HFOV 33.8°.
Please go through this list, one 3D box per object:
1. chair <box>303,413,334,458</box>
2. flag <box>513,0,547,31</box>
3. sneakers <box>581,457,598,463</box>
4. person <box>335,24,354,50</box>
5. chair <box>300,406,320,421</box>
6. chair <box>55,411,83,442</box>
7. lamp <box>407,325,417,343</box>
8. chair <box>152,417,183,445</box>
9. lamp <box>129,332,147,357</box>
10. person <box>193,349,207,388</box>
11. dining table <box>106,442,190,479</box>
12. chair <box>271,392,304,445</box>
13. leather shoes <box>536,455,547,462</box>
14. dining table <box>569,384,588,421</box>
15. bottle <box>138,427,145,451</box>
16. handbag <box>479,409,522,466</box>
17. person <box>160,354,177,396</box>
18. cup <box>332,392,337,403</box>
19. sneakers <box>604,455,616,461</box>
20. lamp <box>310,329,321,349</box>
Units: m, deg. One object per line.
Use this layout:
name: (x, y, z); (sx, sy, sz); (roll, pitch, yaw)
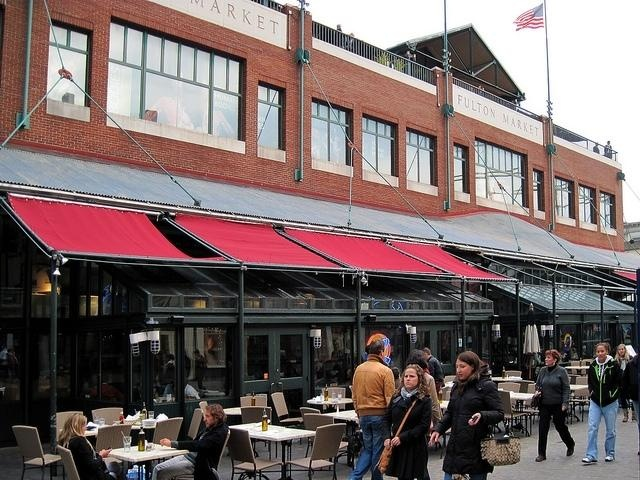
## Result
chair: (-0.092, 4.325, 24.509); (0.471, 0.834, 0.506); (-1, -5, 40)
flag: (8.940, -9.538, 44.630); (1.191, 1.745, 1.857); (-5, -12, 14)
sneakers: (6.267, 5.104, 24.336); (0.376, 0.168, 0.127); (13, -15, -29)
person: (0.989, -7.253, 37.855); (0.189, 0.658, 0.936); (-9, -14, 35)
chair: (-0.229, 4.079, 25.120); (0.435, 0.507, 0.403); (0, -2, -12)
chair: (-5.223, 4.024, 22.104); (0.527, 0.761, 0.559); (15, -26, -23)
lamp: (2.786, 2.808, 31.532); (0.213, 0.552, 0.477); (-10, -14, 37)
chair: (-3.536, 4.424, 24.411); (0.548, 0.983, 0.531); (4, -3, 43)
lamp: (-4.585, 2.596, 26.189); (0.504, 0.773, 0.608); (0, -1, -7)
person: (-3.098, 3.319, 27.059); (0.190, 1.007, 0.410); (-10, -14, 37)
dining table: (-3.880, 4.661, 22.907); (1.219, 1.239, 1.242); (-6, -7, 42)
chair: (-0.835, 4.327, 27.536); (0.691, 1.063, 0.613); (-18, 14, -32)
leather shoes: (5.239, 5.162, 24.832); (0.095, 0.126, 0.290); (-10, -19, 39)
dining table: (7.710, 4.729, 30.964); (0.725, 0.978, 0.641); (10, 3, 11)
bottle: (-3.904, 4.376, 22.913); (0.135, 0.429, 0.432); (0, -12, -10)
handbag: (3.551, 3.982, 20.684); (0.862, 0.895, 0.385); (-1, -6, -30)
person: (-3.817, 3.416, 26.563); (0.168, 1.065, 0.347); (-12, -15, 43)
cup: (0.378, 4.076, 27.260); (0.147, 0.275, 0.143); (1, -2, 0)
sneakers: (6.783, 5.102, 24.550); (0.094, 0.127, 0.289); (-14, -27, 34)
lamp: (-0.078, 2.735, 29.158); (0.271, 0.513, 0.566); (-6, -12, 20)
